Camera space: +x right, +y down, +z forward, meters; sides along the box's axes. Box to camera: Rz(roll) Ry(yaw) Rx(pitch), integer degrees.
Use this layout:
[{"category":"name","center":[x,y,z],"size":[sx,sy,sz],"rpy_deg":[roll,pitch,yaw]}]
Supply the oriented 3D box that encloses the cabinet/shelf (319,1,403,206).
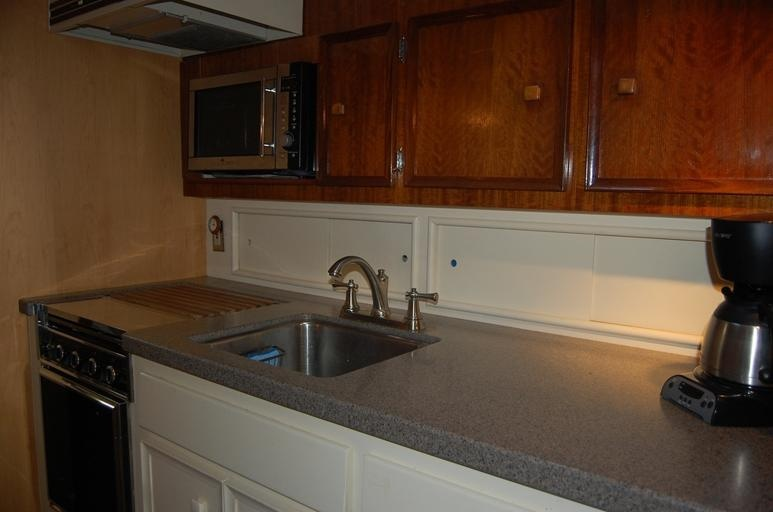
[{"category":"cabinet/shelf","center":[-0.116,-0.647,2.293],"size":[0.388,0.720,0.099],"rpy_deg":[4,9,39]}]

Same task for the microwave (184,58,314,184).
[{"category":"microwave","center":[-0.579,-0.603,2.644],"size":[0.689,0.452,0.437],"rpy_deg":[4,3,30]}]

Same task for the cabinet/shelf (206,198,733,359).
[{"category":"cabinet/shelf","center":[0.193,0.037,2.498],"size":[2.302,0.472,0.322],"rpy_deg":[5,8,31]}]
